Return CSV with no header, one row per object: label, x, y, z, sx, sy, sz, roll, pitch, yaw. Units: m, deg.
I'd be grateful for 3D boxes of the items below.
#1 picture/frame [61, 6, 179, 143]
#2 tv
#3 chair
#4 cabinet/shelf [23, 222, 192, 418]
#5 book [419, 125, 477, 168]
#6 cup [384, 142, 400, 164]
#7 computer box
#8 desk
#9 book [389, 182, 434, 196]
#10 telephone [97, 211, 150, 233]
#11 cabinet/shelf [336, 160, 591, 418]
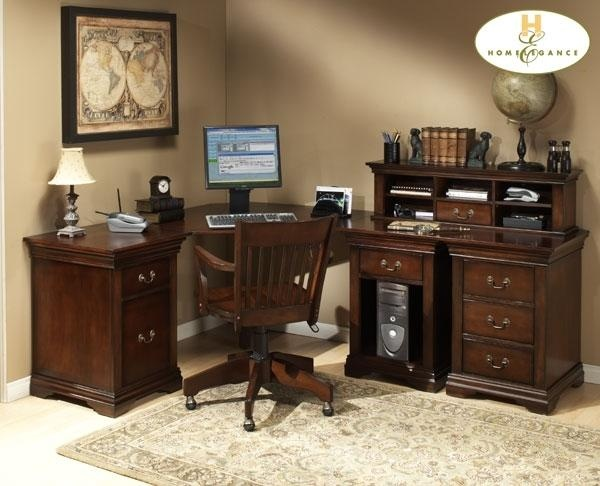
picture/frame,-1.109,-1.021,3.295,0.079,0.736,0.950,10,16,34
tv,-0.372,-0.503,3.592,0.714,0.723,0.316,-1,5,-10
chair,-0.222,0.340,2.853,0.786,0.956,0.765,1,5,-10
cabinet/shelf,-0.998,0.328,3.513,0.953,1.266,1.003,5,8,28
book,0.902,-0.564,3.383,0.364,0.251,0.253,8,10,35
cup,0.578,-0.556,3.430,0.131,0.134,0.125,0,1,0
computer box,0.625,0.437,3.232,0.326,0.438,0.303,-2,8,0
desk,-0.111,0.194,3.241,0.966,0.616,0.504,6,17,15
book,0.698,-0.327,3.399,0.295,0.079,0.092,7,16,28
telephone,-0.981,-0.117,3.086,0.206,0.067,0.113,0,11,2
cabinet/shelf,0.960,0.287,3.038,1.402,1.242,0.690,3,6,31
